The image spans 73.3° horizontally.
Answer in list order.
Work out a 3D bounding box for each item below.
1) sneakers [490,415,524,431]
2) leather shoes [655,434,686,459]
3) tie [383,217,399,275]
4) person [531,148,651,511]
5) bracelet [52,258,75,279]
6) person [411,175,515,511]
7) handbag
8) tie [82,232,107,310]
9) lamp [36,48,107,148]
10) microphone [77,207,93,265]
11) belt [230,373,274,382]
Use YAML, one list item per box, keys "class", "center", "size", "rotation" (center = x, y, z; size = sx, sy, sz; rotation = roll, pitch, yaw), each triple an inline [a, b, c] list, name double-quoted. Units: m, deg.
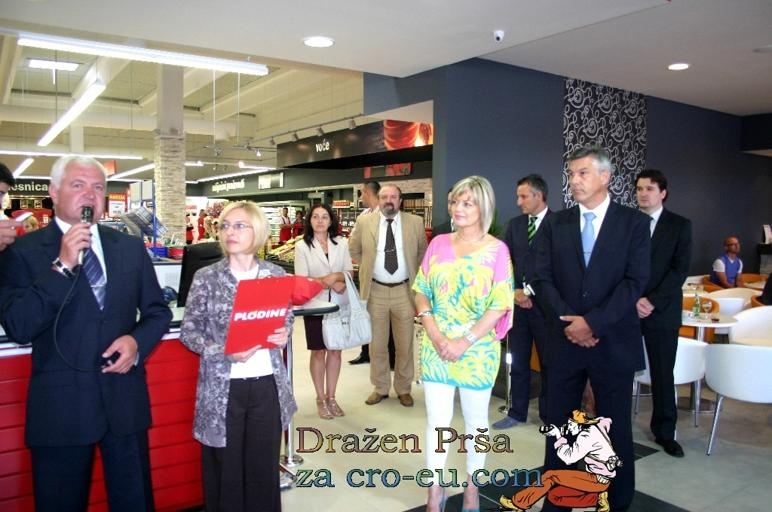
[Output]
- class: "sneakers"
  center: [1.108, 1.516, 4.737]
  size: [0.271, 0.105, 0.102]
  rotation: [3, -4, -16]
- class: "leather shoes"
  center: [2.390, 1.581, 4.346]
  size: [0.087, 0.088, 0.229]
  rotation: [-7, 2, -15]
- class: "tie"
  center: [0.048, -0.094, 5.158]
  size: [0.134, 0.539, 0.120]
  rotation: [2, 4, 0]
- class: "person"
  center: [1.309, 0.459, 3.399]
  size: [0.706, 2.322, 0.331]
  rotation: [4, 4, 25]
- class: "bracelet"
  center: [-1.623, 0.066, 2.587]
  size: [0.097, 0.102, 0.045]
  rotation: [-1, 5, -35]
- class: "person"
  center: [0.484, 0.615, 3.397]
  size: [0.642, 2.265, 0.348]
  rotation: [2, 4, 2]
- class: "handbag"
  center: [-0.369, 0.531, 4.756]
  size: [0.441, 0.732, 0.332]
  rotation: [1, 4, -10]
- class: "tie"
  center: [-1.509, 0.093, 2.681]
  size: [0.092, 0.349, 0.015]
  rotation: [-12, -4, -39]
- class: "lamp"
  center: [-8.026, -3.975, 13.033]
  size: [0.674, 0.499, 4.303]
  rotation: [26, -40, -38]
- class: "microphone"
  center: [-1.542, -0.105, 2.644]
  size: [0.065, 0.294, 0.202]
  rotation: [0, 4, -30]
- class: "belt"
  center: [-0.778, 0.715, 3.007]
  size: [0.252, 0.045, 0.017]
  rotation: [0, 4, -16]
